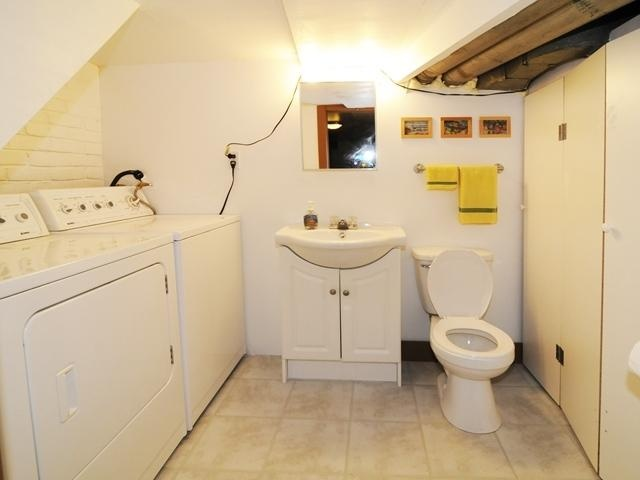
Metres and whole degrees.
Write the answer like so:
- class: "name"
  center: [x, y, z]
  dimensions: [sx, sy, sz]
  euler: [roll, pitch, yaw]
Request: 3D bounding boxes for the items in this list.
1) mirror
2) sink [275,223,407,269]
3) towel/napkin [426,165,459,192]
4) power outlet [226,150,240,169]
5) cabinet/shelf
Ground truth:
- class: "mirror"
  center: [0.140, -0.815, 3.108]
  dimensions: [0.580, 0.598, 0.028]
  euler: [-1, 10, 5]
- class: "sink"
  center: [0.131, 0.060, 2.894]
  dimensions: [0.807, 0.230, 0.493]
  euler: [1, 11, 10]
- class: "towel/napkin"
  center: [0.805, -0.402, 2.982]
  dimensions: [0.168, 0.174, 0.056]
  euler: [1, 7, 9]
- class: "power outlet"
  center: [-0.602, -0.567, 3.192]
  dimensions: [0.082, 0.120, 0.036]
  euler: [-1, 7, -5]
- class: "cabinet/shelf"
  center: [0.168, 0.476, 3.132]
  dimensions: [0.800, 0.859, 0.511]
  euler: [0, 2, 6]
